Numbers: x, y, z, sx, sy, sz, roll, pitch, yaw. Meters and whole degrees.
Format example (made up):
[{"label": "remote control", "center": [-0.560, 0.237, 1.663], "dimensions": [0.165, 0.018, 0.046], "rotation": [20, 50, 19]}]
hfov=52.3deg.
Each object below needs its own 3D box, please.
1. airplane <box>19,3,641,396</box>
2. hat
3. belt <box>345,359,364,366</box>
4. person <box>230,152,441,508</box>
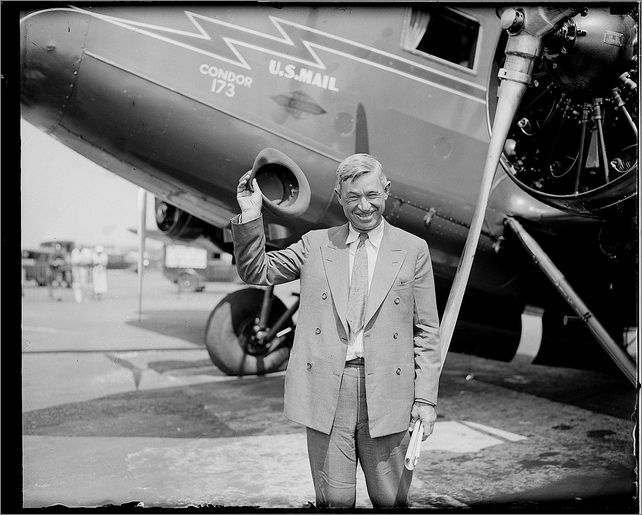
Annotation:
[{"label": "airplane", "center": [0.303, -0.560, 4.986], "dimensions": [3.413, 1.947, 3.410], "rotation": [29, -2, -32]}, {"label": "hat", "center": [-0.235, -0.440, 3.887], "dimensions": [0.386, 0.426, 0.139], "rotation": [24, -30, -34]}, {"label": "belt", "center": [0.183, 0.574, 3.574], "dimensions": [0.096, 0.034, 0.012], "rotation": [5, 2, -4]}, {"label": "person", "center": [0.117, 0.423, 3.638], "dimensions": [1.102, 1.558, 0.374], "rotation": [4, 2, 11]}]
